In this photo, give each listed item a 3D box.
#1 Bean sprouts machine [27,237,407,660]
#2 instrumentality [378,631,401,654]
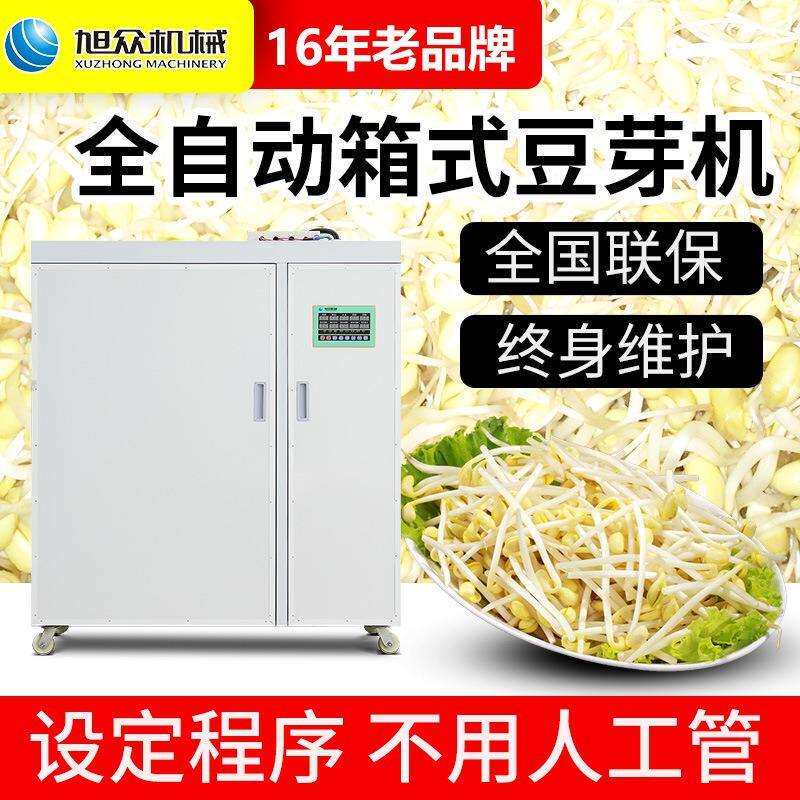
[{"bbox_3d":[-0.620,0.138,2.834,1.175,1.297,0.442,-1,-2,-12],"label":"Bean sprouts machine"},{"bbox_3d":[-0.037,0.786,2.674,0.061,0.082,0.029,-23,-10,-10],"label":"instrumentality"}]
